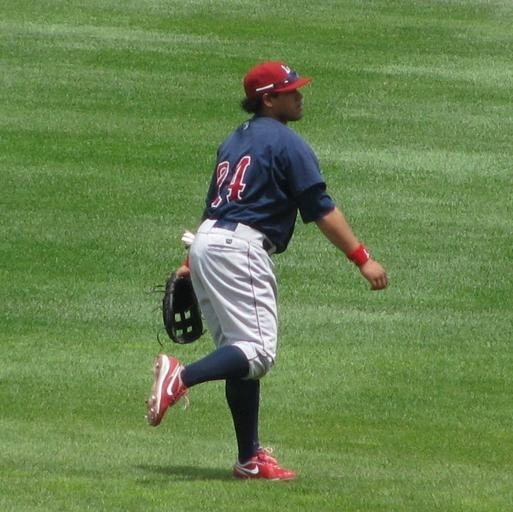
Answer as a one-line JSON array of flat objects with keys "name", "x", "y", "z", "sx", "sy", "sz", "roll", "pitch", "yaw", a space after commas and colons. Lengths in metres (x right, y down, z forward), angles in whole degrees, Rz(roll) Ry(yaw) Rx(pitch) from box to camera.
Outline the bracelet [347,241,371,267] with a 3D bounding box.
[{"name": "bracelet", "x": 0.738, "y": -0.009, "z": 10.287, "sx": 0.125, "sy": 0.166, "sz": 0.124, "roll": 35, "pitch": 69, "yaw": 29}]

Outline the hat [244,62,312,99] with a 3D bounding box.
[{"name": "hat", "x": 0.127, "y": -1.312, "z": 10.410, "sx": 0.353, "sy": 0.231, "sz": 0.273, "roll": -2, "pitch": 16, "yaw": 4}]

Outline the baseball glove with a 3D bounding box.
[{"name": "baseball glove", "x": -0.618, "y": 0.325, "z": 10.817, "sx": 0.318, "sy": 0.538, "sz": 0.174, "roll": 3, "pitch": 28, "yaw": -29}]
